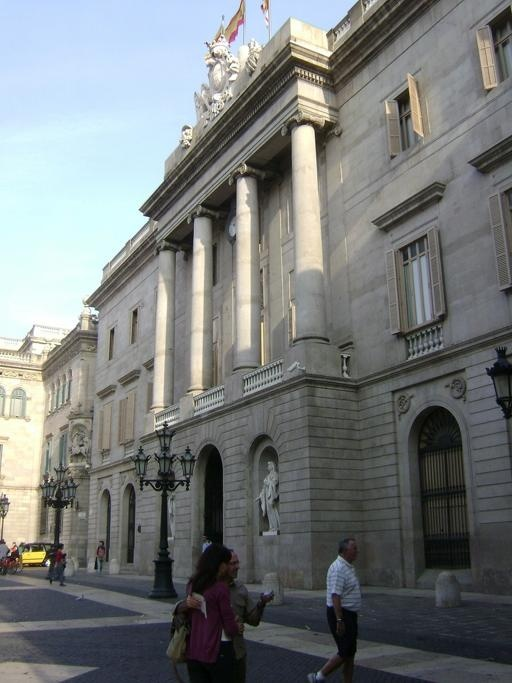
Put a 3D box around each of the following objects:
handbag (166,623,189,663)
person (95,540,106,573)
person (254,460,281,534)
[{"bbox_3d":[-0.457,1.764,3.567,0.108,0.205,0.216,1,-18,-11],"label":"handbag"},{"bbox_3d":[-9.277,12.792,36.504,0.611,1.751,2.001,2,-18,-14],"label":"person"},{"bbox_3d":[0.426,5.010,19.444,0.483,2.214,1.425,2,-17,-15],"label":"person"}]
